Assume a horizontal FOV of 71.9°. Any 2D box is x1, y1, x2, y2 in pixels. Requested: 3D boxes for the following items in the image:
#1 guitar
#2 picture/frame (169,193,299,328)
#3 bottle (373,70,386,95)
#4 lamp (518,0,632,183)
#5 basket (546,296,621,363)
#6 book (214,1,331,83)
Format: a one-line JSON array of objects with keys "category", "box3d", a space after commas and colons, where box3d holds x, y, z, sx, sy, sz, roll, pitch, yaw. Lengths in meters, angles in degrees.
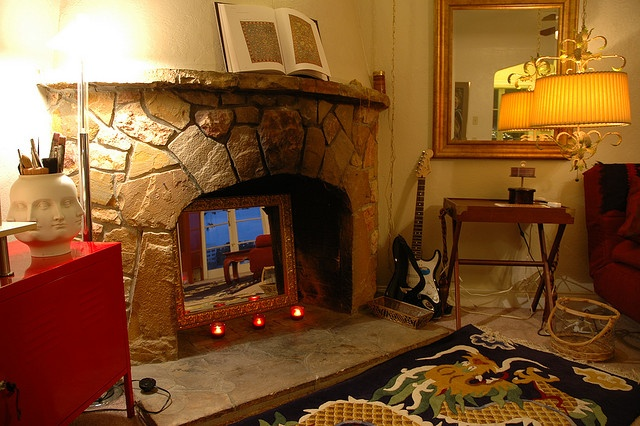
[{"category": "guitar", "box3d": [0.741, 0.144, 3.390, 0.420, 1.229, 0.454, 3, 13, 20]}, {"category": "picture/frame", "box3d": [-0.654, 0.346, 3.183, 0.981, 0.887, 0.042, -5, 0, -35]}, {"category": "bottle", "box3d": [0.457, -1.027, 3.439, 0.103, 0.191, 0.205, 0, 12, 8]}, {"category": "lamp", "box3d": [1.835, -0.845, 3.148, 0.697, 1.185, 0.780, 4, 13, 23]}, {"category": "basket", "box3d": [1.780, 0.790, 3.012, 0.440, 0.342, 0.451, -13, 18, -34]}, {"category": "book", "box3d": [-0.332, -1.076, 2.792, 0.706, 0.420, 0.074, -2, -10, -31]}]
